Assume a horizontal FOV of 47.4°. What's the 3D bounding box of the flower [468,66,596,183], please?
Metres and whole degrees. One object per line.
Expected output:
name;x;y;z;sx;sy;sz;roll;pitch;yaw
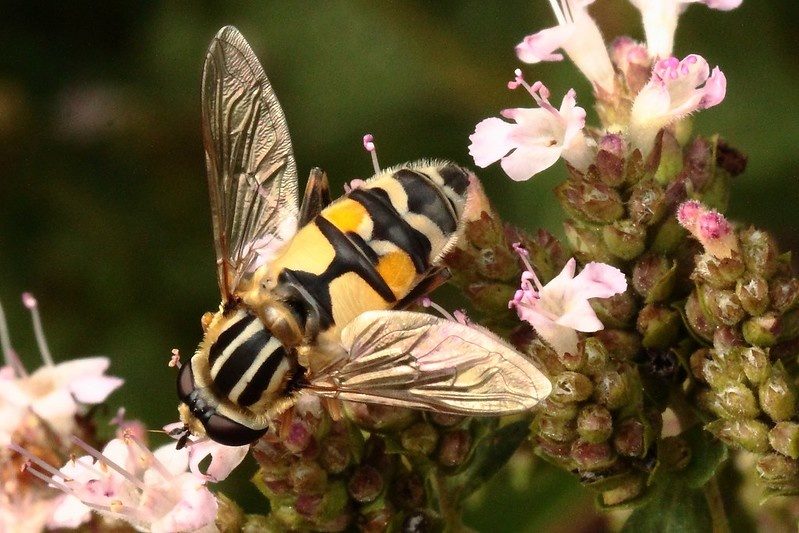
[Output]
flower;0.511;-0.484;3.369;0.406;0.398;0.157;-31;-12;-1

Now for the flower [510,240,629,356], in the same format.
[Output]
flower;0.587;0.139;3.332;0.345;0.429;0.412;2;-23;-26

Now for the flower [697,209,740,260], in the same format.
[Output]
flower;1.124;-0.117;3.227;0.123;0.173;0.138;-24;18;18
